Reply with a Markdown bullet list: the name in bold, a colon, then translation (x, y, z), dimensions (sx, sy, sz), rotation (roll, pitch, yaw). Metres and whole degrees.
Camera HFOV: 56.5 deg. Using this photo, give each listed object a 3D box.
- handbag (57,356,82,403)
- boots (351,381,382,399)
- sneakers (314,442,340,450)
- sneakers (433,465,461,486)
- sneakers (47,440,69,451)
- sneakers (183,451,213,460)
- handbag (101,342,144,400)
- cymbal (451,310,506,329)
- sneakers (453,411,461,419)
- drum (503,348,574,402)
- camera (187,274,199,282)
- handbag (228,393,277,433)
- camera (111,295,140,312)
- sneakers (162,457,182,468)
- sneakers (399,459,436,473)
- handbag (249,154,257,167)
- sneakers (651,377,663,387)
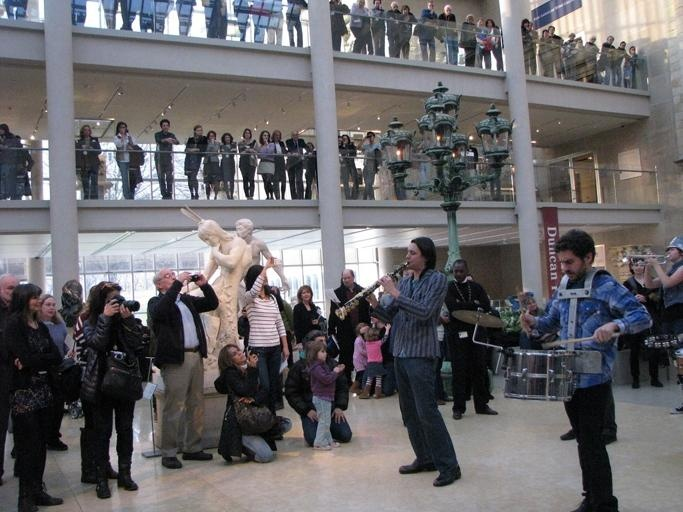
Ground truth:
- **handbag**: translation (-2.906, 1.315, 6.773), dimensions (0.306, 0.421, 0.164), rotation (2, -2, -24)
- **boots**: translation (0.386, 2.370, 11.204), dimensions (0.600, 0.423, 0.220), rotation (2, -6, -10)
- **sneakers**: translation (-0.177, 2.402, 8.015), dimensions (0.323, 0.136, 0.108), rotation (-4, -4, 0)
- **sneakers**: translation (1.071, 2.248, 6.506), dimensions (0.351, 0.148, 0.124), rotation (0, -19, -40)
- **sneakers**: translation (-3.877, 2.593, 8.732), dimensions (0.331, 0.140, 0.149), rotation (1, -3, -3)
- **sneakers**: translation (-1.749, 2.442, 7.838), dimensions (0.373, 0.147, 0.133), rotation (-2, -7, 1)
- **handbag**: translation (-2.316, 1.208, 6.659), dimensions (0.248, 0.476, 0.449), rotation (-28, -40, 36)
- **cymbal**: translation (1.877, 0.861, 8.710), dimensions (0.619, 0.249, 0.789), rotation (-3, 0, 14)
- **sneakers**: translation (1.665, 2.272, 9.091), dimensions (0.118, 0.107, 0.188), rotation (-3, 0, 9)
- **drum**: translation (1.767, 1.060, 5.653), dimensions (0.569, 0.424, 0.577), rotation (3, -8, 0)
- **camera**: translation (-1.673, 0.251, 7.243), dimensions (0.108, 0.086, 0.155), rotation (-3, 0, -6)
- **handbag**: translation (-1.099, 1.910, 7.701), dimensions (0.494, 0.604, 0.298), rotation (-18, -12, -23)
- **camera**: translation (-2.248, 0.499, 6.659), dimensions (0.224, 0.130, 0.207), rotation (11, 8, 32)
- **sneakers**: translation (-2.028, 2.442, 7.555), dimensions (0.298, 0.137, 0.128), rotation (-3, 0, 13)
- **sneakers**: translation (0.813, 2.249, 6.876), dimensions (0.430, 0.168, 0.154), rotation (2, -8, -2)
- **handbag**: translation (-2.042, -2.200, 14.568), dimensions (0.213, 0.273, 0.082), rotation (1, 8, -11)
- **sneakers**: translation (5.381, 2.164, 10.856), dimensions (0.218, 0.207, 0.101), rotation (-2, -3, 15)
